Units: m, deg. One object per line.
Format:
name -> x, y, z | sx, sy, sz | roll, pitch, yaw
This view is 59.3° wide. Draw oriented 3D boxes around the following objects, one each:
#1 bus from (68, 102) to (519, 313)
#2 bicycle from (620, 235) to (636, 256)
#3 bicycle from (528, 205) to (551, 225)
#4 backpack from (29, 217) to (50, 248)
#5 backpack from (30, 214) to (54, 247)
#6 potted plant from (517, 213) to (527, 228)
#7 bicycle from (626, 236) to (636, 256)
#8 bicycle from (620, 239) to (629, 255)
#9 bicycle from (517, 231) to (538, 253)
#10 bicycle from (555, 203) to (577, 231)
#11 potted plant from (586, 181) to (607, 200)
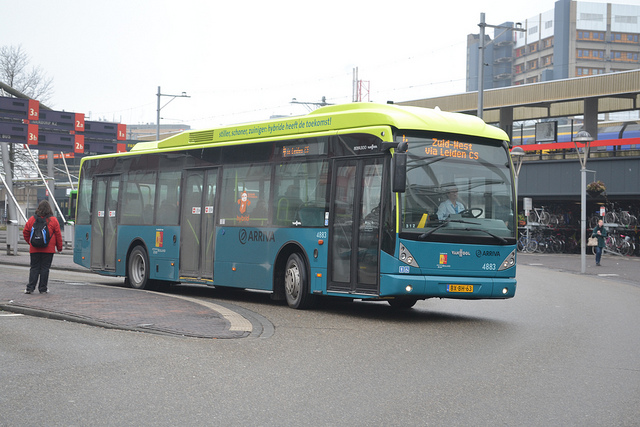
bus -> -2.056, -0.112, 16.002 | 12.977, 4.568, 3.669 | 0, -3, 42
bicycle -> 18.524, 1.979, 33.730 | 0.868, 1.349, 0.562 | 1, 0, -19
bicycle -> 14.552, 0.162, 37.371 | 1.620, 1.094, 0.736 | 0, -1, 39
backpack -> -6.743, 0.422, 13.528 | 0.503, 0.779, 0.418 | 5, -1, -17
backpack -> -6.741, 0.424, 13.584 | 0.510, 0.852, 0.460 | 4, -10, -12
potted plant -> 13.320, 0.508, 37.056 | 0.811, 1.063, 0.856 | 2, 3, 17
bicycle -> 18.607, 1.969, 33.612 | 0.294, 0.986, 0.681 | 1, 3, -10
bicycle -> 18.216, 2.055, 33.581 | 0.405, 0.985, 0.203 | 1, 0, 24
bicycle -> 14.138, 2.055, 38.214 | 0.526, 1.445, 1.281 | 1, 0, -24
bicycle -> 16.114, 0.315, 37.360 | 0.902, 1.211, 1.863 | 2, -1, -31
potted plant -> 16.517, -1.412, 33.701 | 0.871, 0.511, 0.927 | -2, -3, 7
